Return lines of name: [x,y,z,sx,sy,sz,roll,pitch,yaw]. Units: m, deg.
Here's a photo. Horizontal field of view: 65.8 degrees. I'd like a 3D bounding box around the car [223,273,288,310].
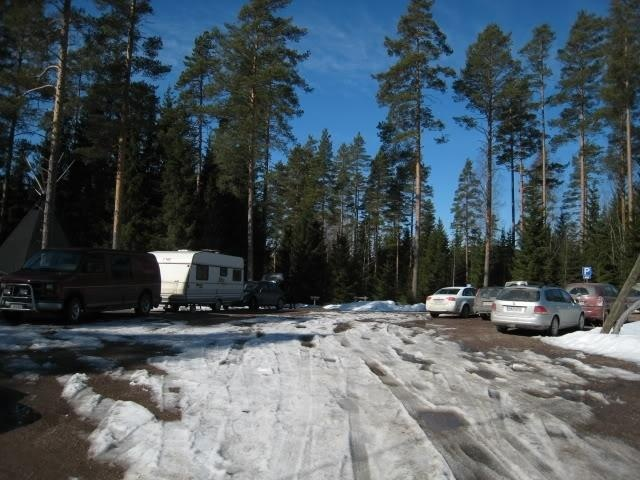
car: [-3.526,3.031,27.490,1.487,1.224,2.633,-9,-14,37]
